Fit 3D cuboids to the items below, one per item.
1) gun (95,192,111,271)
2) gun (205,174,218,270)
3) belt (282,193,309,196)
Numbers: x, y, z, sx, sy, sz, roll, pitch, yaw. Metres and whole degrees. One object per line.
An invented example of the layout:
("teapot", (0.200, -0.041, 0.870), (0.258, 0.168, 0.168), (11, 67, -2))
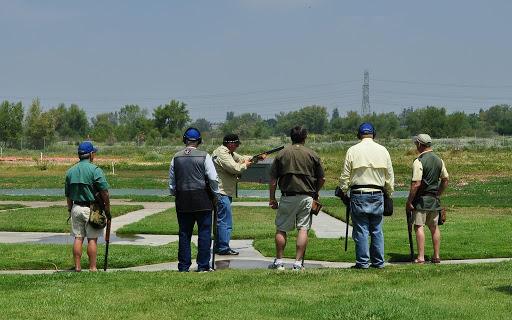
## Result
("gun", (-8.258, 3.669, 49.697), (0.229, 3.993, 0.823), (-1, -6, 23))
("gun", (-2.469, 3.749, 49.837), (0.807, 3.658, 0.719), (0, -1, -9))
("belt", (1.853, 1.714, 49.304), (1.316, 0.189, 0.146), (-1, -1, 8))
